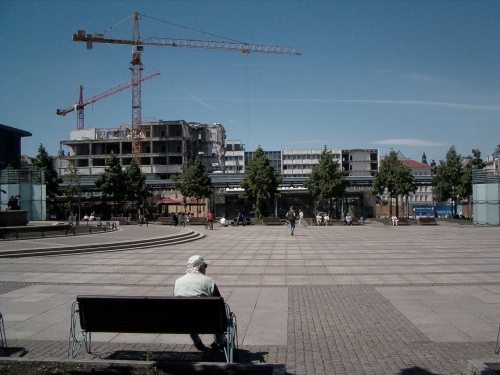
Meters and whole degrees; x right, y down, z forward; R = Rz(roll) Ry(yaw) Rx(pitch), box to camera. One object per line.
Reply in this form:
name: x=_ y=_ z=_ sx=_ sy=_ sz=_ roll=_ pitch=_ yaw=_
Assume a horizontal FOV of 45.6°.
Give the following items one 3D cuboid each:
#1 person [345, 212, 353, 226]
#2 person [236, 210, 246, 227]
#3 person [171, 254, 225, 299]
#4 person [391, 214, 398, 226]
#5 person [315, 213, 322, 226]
person: x=8.673 y=2.810 z=52.291 sx=0.623 sy=0.747 sz=1.183 roll=-1 pitch=-7 yaw=3
person: x=-0.895 y=2.758 z=51.897 sx=0.739 sy=1.291 sz=2.272 roll=-1 pitch=0 yaw=0
person: x=-1.181 y=1.934 z=12.930 sx=0.973 sy=0.935 sz=1.108 roll=-1 pitch=0 yaw=-5
person: x=12.578 y=2.805 z=52.121 sx=0.490 sy=0.899 sz=2.001 roll=-1 pitch=0 yaw=13
person: x=6.308 y=2.917 z=55.547 sx=0.654 sy=1.228 sz=0.391 roll=0 pitch=-31 yaw=2
